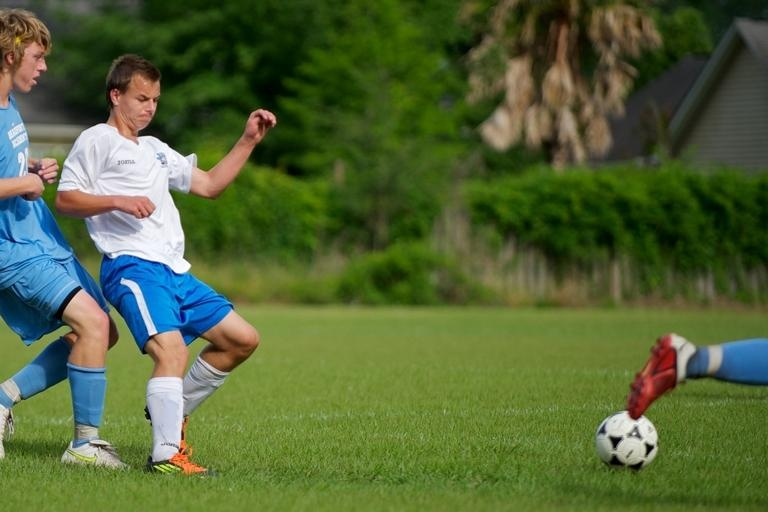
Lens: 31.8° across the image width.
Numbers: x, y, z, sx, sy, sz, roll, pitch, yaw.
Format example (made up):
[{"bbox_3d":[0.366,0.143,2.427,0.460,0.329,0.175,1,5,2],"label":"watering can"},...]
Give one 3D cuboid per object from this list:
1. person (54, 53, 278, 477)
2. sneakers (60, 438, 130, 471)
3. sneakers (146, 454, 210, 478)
[{"bbox_3d":[-1.869,0.025,11.155,1.605,3.366,1.036,-4,9,-13],"label":"person"},{"bbox_3d":[-2.426,1.632,11.177,0.579,0.248,0.225,5,-4,0],"label":"sneakers"},{"bbox_3d":[-1.686,1.691,10.938,0.532,0.218,0.177,1,-4,0],"label":"sneakers"}]
